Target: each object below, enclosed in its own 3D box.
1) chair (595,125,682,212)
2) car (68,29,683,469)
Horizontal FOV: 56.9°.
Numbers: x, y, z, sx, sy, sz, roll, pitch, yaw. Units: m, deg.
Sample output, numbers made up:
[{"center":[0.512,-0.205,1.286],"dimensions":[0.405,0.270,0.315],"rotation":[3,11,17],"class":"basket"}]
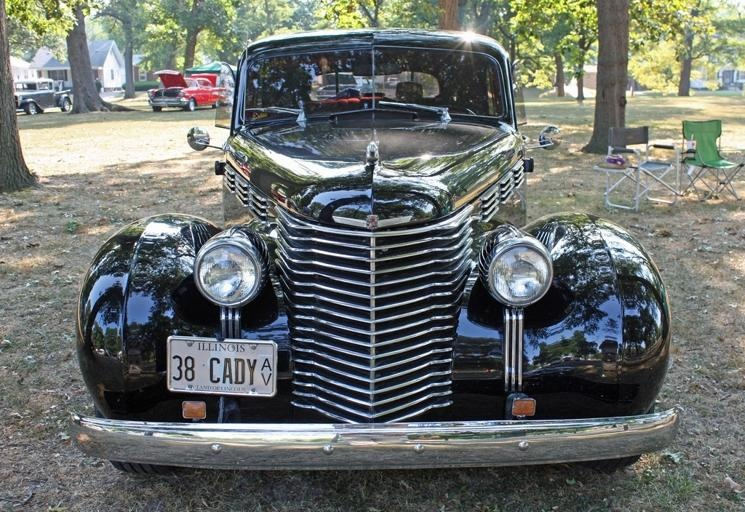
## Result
[{"center":[4.280,-1.464,10.916],"dimensions":[0.513,1.085,1.301],"rotation":[5,5,-20],"class":"chair"},{"center":[-0.045,-0.168,5.038],"dimensions":[3.823,2.952,2.761],"rotation":[-2,15,-3],"class":"car"}]
